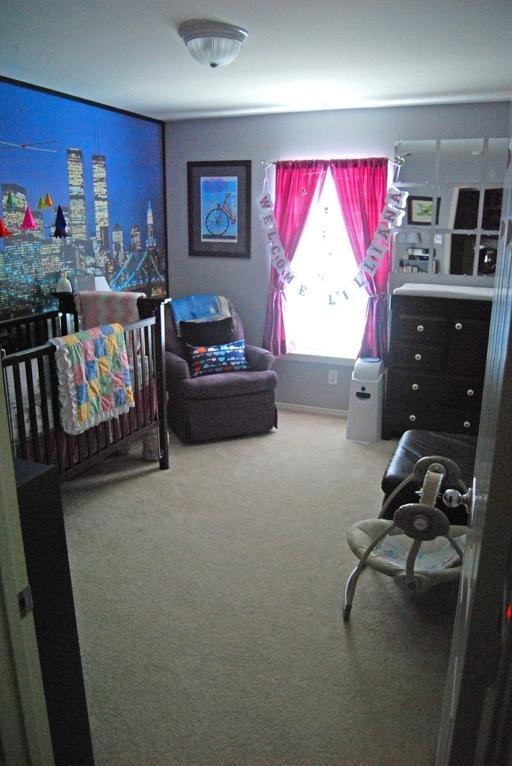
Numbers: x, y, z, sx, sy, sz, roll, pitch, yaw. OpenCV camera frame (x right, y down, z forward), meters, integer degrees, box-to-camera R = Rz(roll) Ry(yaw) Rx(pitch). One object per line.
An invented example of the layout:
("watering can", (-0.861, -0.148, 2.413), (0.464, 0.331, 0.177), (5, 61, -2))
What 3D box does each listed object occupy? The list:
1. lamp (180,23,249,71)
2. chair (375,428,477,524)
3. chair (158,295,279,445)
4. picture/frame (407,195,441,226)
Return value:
("lamp", (-0.209, -1.596, 2.537), (0.280, 0.103, 0.334), (13, 18, 40))
("chair", (0.920, 0.568, 2.928), (0.415, 0.297, 0.595), (7, 18, 16))
("chair", (-0.361, -0.040, 4.509), (0.787, 1.001, 0.796), (-5, 11, -22))
("picture/frame", (1.326, -1.365, 4.247), (0.230, 0.229, 0.016), (7, 27, 19))
